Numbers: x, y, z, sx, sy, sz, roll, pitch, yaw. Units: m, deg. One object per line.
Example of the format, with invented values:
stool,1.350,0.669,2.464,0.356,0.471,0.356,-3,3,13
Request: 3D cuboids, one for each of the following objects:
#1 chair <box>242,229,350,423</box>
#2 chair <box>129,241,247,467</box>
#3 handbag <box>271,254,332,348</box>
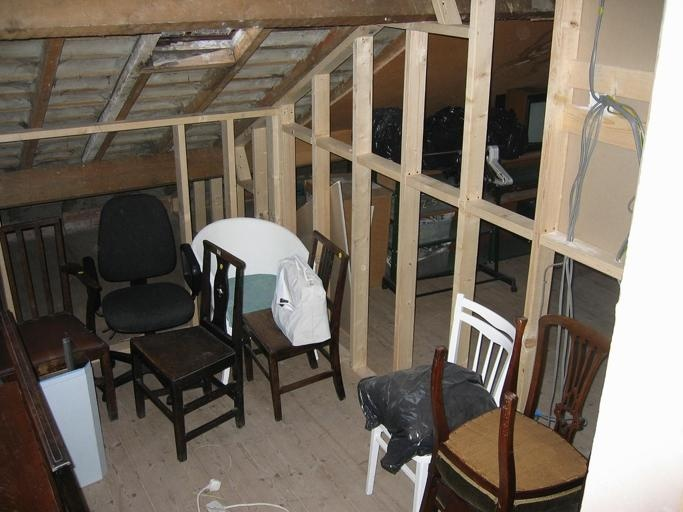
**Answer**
chair,-0.314,0.457,3.414,0.629,1.143,0.663,-10,33,-30
chair,-0.925,0.615,3.210,0.738,1.362,0.626,24,27,38
handbag,-0.267,0.215,3.227,0.269,0.441,0.486,-9,27,-23
